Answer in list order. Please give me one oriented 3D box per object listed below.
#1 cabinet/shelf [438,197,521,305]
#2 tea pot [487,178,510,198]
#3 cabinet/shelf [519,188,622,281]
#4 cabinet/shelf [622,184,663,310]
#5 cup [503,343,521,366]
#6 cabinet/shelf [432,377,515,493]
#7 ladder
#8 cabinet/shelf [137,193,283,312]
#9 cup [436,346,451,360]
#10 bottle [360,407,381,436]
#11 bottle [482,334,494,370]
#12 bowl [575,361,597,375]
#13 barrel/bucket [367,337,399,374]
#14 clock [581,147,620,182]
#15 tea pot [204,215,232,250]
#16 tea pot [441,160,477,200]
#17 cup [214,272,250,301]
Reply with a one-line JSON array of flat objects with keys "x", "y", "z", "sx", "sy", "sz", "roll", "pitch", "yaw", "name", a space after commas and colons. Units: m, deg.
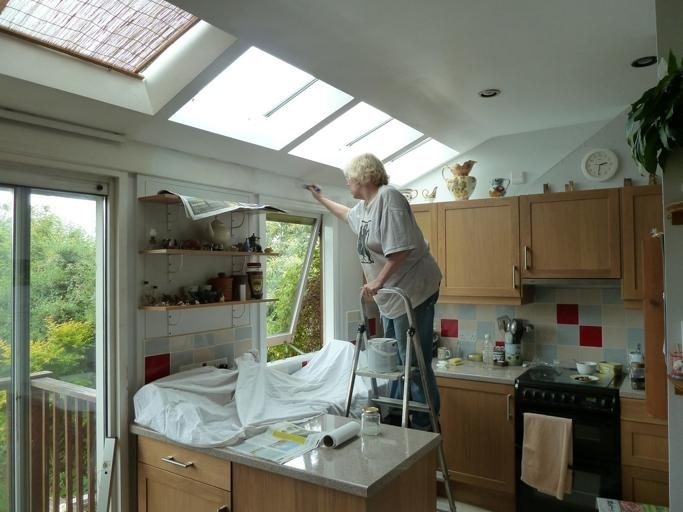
[{"x": 1.154, "y": -0.028, "z": 4.416, "sx": 0.742, "sy": 1.020, "sz": 0.505, "roll": -5, "pitch": -8, "yaw": 27, "name": "cabinet/shelf"}, {"x": 1.307, "y": -0.559, "z": 4.473, "sx": 0.148, "sy": 0.168, "sz": 0.142, "roll": -1, "pitch": -2, "yaw": 0, "name": "tea pot"}, {"x": 1.807, "y": -0.111, "z": 4.261, "sx": 0.691, "sy": 0.690, "sz": 0.399, "roll": -1, "pitch": -12, "yaw": 23, "name": "cabinet/shelf"}, {"x": 2.150, "y": -0.074, "z": 3.851, "sx": 0.266, "sy": 0.855, "sz": 0.087, "roll": -2, "pitch": -2, "yaw": 32, "name": "cabinet/shelf"}, {"x": 1.410, "y": 0.808, "z": 4.428, "sx": 0.150, "sy": 0.175, "sz": 0.162, "roll": 1, "pitch": -8, "yaw": 0, "name": "cup"}, {"x": 1.108, "y": 1.391, "z": 4.416, "sx": 0.705, "sy": 1.055, "sz": 0.680, "roll": -5, "pitch": -8, "yaw": 30, "name": "cabinet/shelf"}, {"x": 0.368, "y": 1.007, "z": 3.434, "sx": 0.664, "sy": 1.617, "sz": 1.015, "roll": -2, "pitch": -2, "yaw": 11, "name": "ladder"}, {"x": -0.923, "y": -0.023, "z": 3.597, "sx": 0.296, "sy": 0.590, "sz": 0.855, "roll": -2, "pitch": -2, "yaw": 33, "name": "cabinet/shelf"}, {"x": 0.898, "y": 0.839, "z": 4.674, "sx": 0.129, "sy": 0.138, "sz": 0.085, "roll": 0, "pitch": -2, "yaw": 0, "name": "cup"}, {"x": 0.151, "y": 0.877, "z": 2.865, "sx": 0.112, "sy": 0.129, "sz": 0.110, "roll": 3, "pitch": -6, "yaw": -42, "name": "bottle"}, {"x": 1.238, "y": 0.785, "z": 4.555, "sx": 0.096, "sy": 0.235, "sz": 0.293, "roll": -2, "pitch": -2, "yaw": 16, "name": "bottle"}, {"x": 1.850, "y": 0.843, "z": 4.095, "sx": 0.106, "sy": 0.071, "sz": 0.115, "roll": -1, "pitch": -7, "yaw": 0, "name": "bowl"}, {"x": 0.239, "y": 0.572, "z": 3.102, "sx": 0.176, "sy": 0.169, "sz": 0.174, "roll": -1, "pitch": -7, "yaw": 0, "name": "barrel/bucket"}, {"x": 2.076, "y": -0.725, "z": 4.282, "sx": 0.224, "sy": 0.243, "sz": 0.034, "roll": -20, "pitch": -15, "yaw": 35, "name": "clock"}, {"x": -0.829, "y": -0.143, "z": 3.604, "sx": 0.141, "sy": 0.213, "sz": 0.202, "roll": -13, "pitch": -20, "yaw": 17, "name": "tea pot"}, {"x": 1.026, "y": -0.653, "z": 4.769, "sx": 0.380, "sy": 0.402, "sz": 0.299, "roll": -2, "pitch": -3, "yaw": 5, "name": "tea pot"}, {"x": -0.750, "y": 0.214, "z": 3.701, "sx": 0.139, "sy": 0.161, "sz": 0.220, "roll": -6, "pitch": -10, "yaw": 28, "name": "cup"}]
